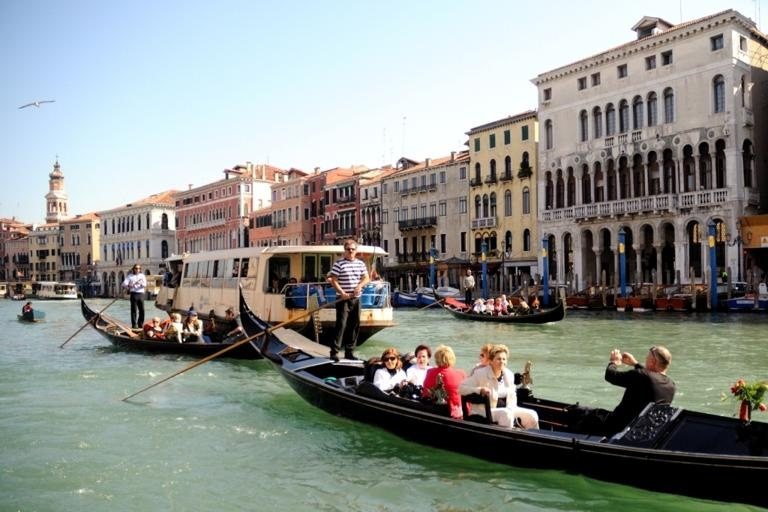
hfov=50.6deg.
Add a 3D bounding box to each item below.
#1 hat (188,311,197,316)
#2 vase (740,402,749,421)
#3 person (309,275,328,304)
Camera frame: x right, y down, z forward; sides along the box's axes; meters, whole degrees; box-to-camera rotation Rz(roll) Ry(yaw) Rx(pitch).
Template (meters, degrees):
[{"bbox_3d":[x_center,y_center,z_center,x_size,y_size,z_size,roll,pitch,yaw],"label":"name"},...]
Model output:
[{"bbox_3d":[-5.938,1.806,25.205,0.346,0.137,0.468,0,-2,-11],"label":"hat"},{"bbox_3d":[6.283,2.733,14.250,0.162,0.326,0.178,4,8,21],"label":"vase"},{"bbox_3d":[-1.909,1.107,23.379,0.580,0.946,0.594,-2,2,15],"label":"person"}]
